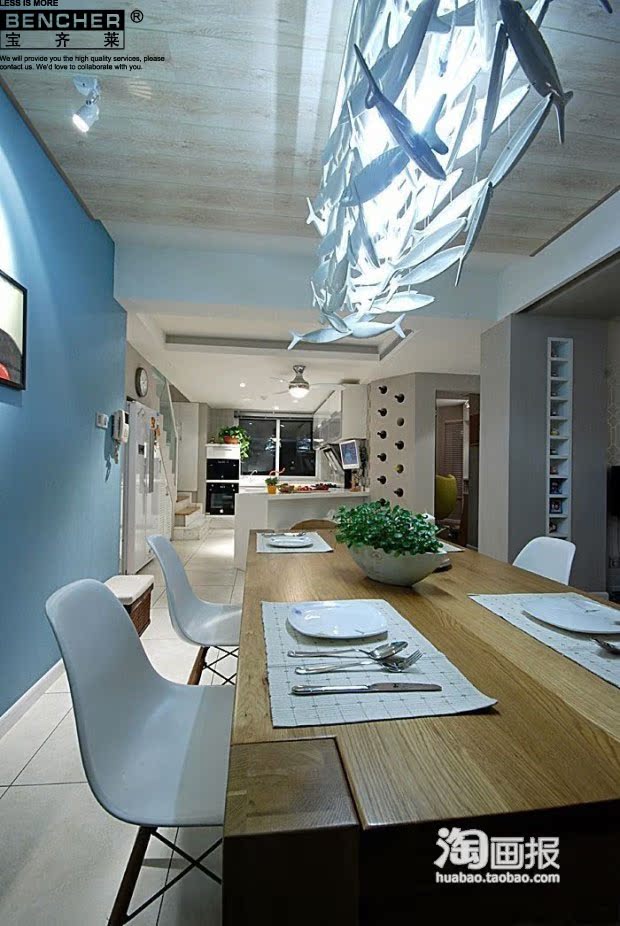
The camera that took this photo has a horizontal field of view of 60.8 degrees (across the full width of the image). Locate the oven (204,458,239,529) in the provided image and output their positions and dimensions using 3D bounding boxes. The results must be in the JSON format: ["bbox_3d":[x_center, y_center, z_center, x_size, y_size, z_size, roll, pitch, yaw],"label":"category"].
[{"bbox_3d":[-1.693,0.414,10.151,0.646,1.064,0.406,-1,-1,-1],"label":"oven"}]

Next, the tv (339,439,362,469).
[{"bbox_3d":[0.552,-0.143,7.201,0.208,0.389,0.636,0,-1,-9],"label":"tv"}]

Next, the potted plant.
[{"bbox_3d":[0.227,0.218,1.530,0.253,0.195,0.269,4,-3,-6],"label":"potted plant"}]

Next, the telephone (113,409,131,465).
[{"bbox_3d":[-1.297,-0.215,3.636,0.088,0.335,0.335,0,-1,-17],"label":"telephone"}]

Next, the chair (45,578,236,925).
[{"bbox_3d":[-0.340,0.493,1.114,0.335,0.493,0.568,-1,-1,-6],"label":"chair"}]

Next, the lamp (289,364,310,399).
[{"bbox_3d":[-0.098,-1.086,6.833,0.309,0.221,0.327,0,-2,-17],"label":"lamp"}]

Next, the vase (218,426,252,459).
[{"bbox_3d":[-1.466,-0.490,10.500,0.550,0.402,0.591,9,-11,-5],"label":"vase"}]

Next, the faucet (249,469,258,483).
[{"bbox_3d":[-1.213,0.245,11.364,0.229,0.261,0.088,1,-12,-11],"label":"faucet"}]
